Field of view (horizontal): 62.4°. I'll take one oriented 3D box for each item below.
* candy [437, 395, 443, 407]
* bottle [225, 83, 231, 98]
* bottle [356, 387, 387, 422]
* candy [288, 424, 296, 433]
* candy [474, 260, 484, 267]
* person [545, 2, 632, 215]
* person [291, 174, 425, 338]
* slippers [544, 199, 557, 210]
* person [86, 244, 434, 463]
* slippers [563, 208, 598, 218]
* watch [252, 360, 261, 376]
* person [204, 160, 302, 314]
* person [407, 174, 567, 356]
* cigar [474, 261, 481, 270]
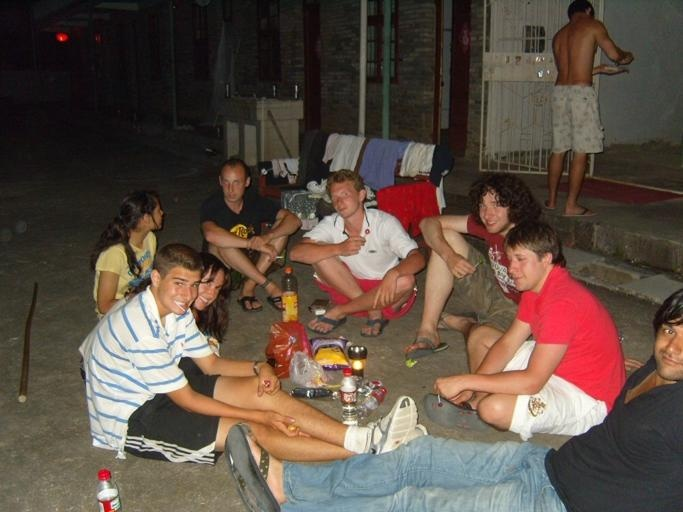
[{"bbox_3d":[0.645,0.944,3.673,0.040,0.072,0.027,-1,-7,10],"label":"candy"},{"bbox_3d":[-3.893,-5.760,19.458,0.144,0.426,0.674,-3,17,-15],"label":"bottle"},{"bbox_3d":[0.212,1.044,3.933,0.105,0.106,0.277,-29,0,23],"label":"bottle"},{"bbox_3d":[-0.288,1.003,3.287,0.035,0.036,0.042,20,-1,-9],"label":"candy"},{"bbox_3d":[1.191,0.062,4.875,0.033,0.037,0.133,-2,23,40],"label":"candy"},{"bbox_3d":[2.941,-1.849,6.904,0.704,2.523,1.157,0,17,-5],"label":"person"},{"bbox_3d":[0.178,-0.045,5.176,1.176,1.370,1.091,2,12,22],"label":"person"},{"bbox_3d":[2.626,-0.652,7.067,0.081,0.094,0.241,-1,23,13],"label":"slippers"},{"bbox_3d":[-0.568,0.715,3.544,1.976,1.138,0.693,9,4,-7],"label":"person"},{"bbox_3d":[2.838,-0.507,6.686,0.355,0.086,0.136,-2,16,2],"label":"slippers"},{"bbox_3d":[-0.527,0.711,3.603,0.062,0.072,0.083,2,-28,-6],"label":"watch"},{"bbox_3d":[-0.906,-0.251,5.787,1.045,1.362,1.127,-9,31,-30],"label":"person"},{"bbox_3d":[1.050,0.048,4.549,1.006,1.354,1.330,8,19,45],"label":"person"},{"bbox_3d":[1.166,0.077,4.829,0.026,0.027,0.090,-29,17,10],"label":"cigar"}]
